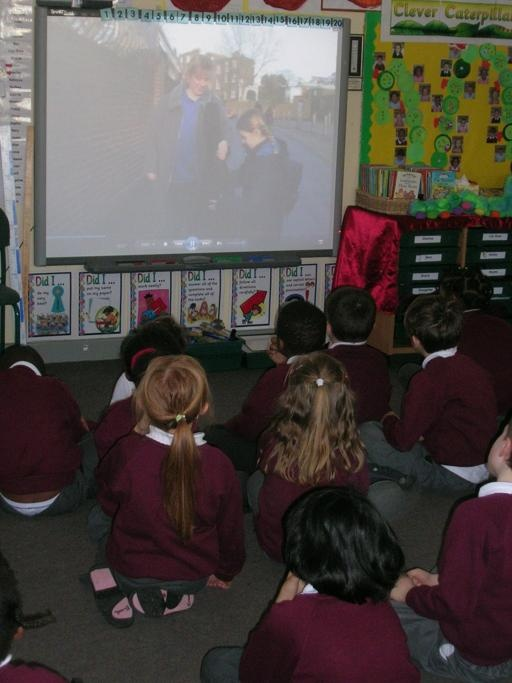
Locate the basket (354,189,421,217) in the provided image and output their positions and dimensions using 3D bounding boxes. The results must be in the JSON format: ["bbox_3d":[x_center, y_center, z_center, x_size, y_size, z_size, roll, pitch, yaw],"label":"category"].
[{"bbox_3d":[0.784,-0.886,3.743,0.167,0.133,0.438,-7,18,-33],"label":"basket"}]

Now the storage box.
[{"bbox_3d":[0.991,-0.296,3.022,0.735,0.677,0.256,-1,4,-11],"label":"storage box"}]

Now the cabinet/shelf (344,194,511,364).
[{"bbox_3d":[1.085,-0.527,4.052,1.319,1.140,0.906,0,7,-12],"label":"cabinet/shelf"}]

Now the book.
[{"bbox_3d":[0.929,-1.067,3.666,0.328,0.136,0.403,-3,21,-12],"label":"book"}]

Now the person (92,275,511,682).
[{"bbox_3d":[0.195,0.294,2.469,0.943,1.180,1.070,-9,13,-4],"label":"person"}]

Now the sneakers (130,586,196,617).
[{"bbox_3d":[-0.242,0.661,1.541,0.174,0.092,0.053,-3,20,-13],"label":"sneakers"}]
